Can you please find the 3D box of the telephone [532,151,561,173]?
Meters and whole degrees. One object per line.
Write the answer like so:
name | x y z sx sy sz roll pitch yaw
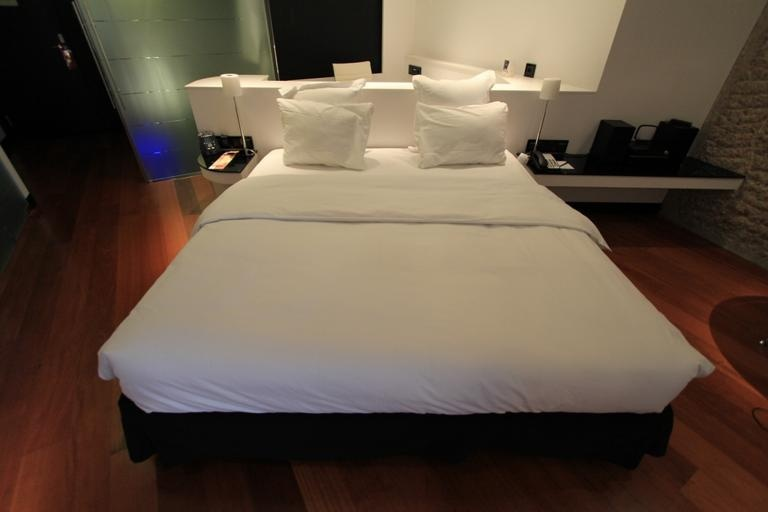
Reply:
telephone | 1.485 -0.921 4.126 0.168 0.088 0.242 8 55 2

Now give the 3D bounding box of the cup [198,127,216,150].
cup | -1.708 -1.131 4.280 0.154 0.229 0.150 2 44 -2

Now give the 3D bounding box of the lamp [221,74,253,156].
lamp | -1.376 -1.317 4.168 0.176 0.699 0.268 -9 35 -14

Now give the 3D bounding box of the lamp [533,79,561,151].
lamp | 1.471 -1.297 4.118 0.149 0.671 0.260 11 35 15

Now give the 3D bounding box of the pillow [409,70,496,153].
pillow | 0.614 -1.437 4.101 0.892 0.468 0.285 -5 8 -6

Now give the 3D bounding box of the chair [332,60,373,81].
chair | -0.354 -1.995 4.855 0.390 0.185 0.298 -6 35 -10

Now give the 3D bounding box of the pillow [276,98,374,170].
pillow | -0.517 -1.053 3.848 0.630 0.448 0.214 3 26 -2

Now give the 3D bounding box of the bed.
bed | 0.003 0.601 3.003 2.386 0.749 2.443 2 43 1
